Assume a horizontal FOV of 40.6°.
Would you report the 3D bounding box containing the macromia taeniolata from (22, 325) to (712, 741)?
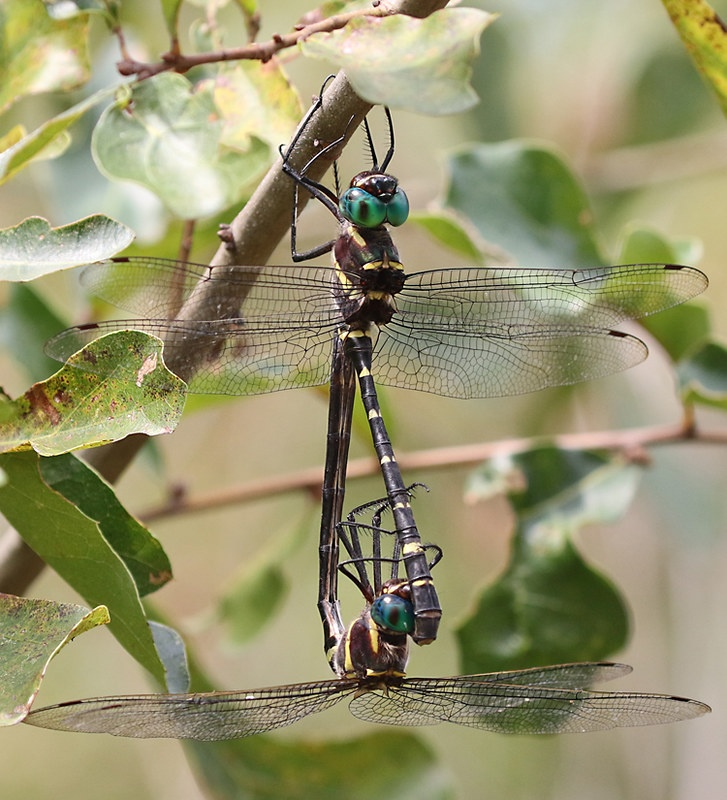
[{"bbox_3d":[-0.015,0.130,1.187,0.792,0.272,0.272,-3,33,-4],"label":"macromia taeniolata"}]
